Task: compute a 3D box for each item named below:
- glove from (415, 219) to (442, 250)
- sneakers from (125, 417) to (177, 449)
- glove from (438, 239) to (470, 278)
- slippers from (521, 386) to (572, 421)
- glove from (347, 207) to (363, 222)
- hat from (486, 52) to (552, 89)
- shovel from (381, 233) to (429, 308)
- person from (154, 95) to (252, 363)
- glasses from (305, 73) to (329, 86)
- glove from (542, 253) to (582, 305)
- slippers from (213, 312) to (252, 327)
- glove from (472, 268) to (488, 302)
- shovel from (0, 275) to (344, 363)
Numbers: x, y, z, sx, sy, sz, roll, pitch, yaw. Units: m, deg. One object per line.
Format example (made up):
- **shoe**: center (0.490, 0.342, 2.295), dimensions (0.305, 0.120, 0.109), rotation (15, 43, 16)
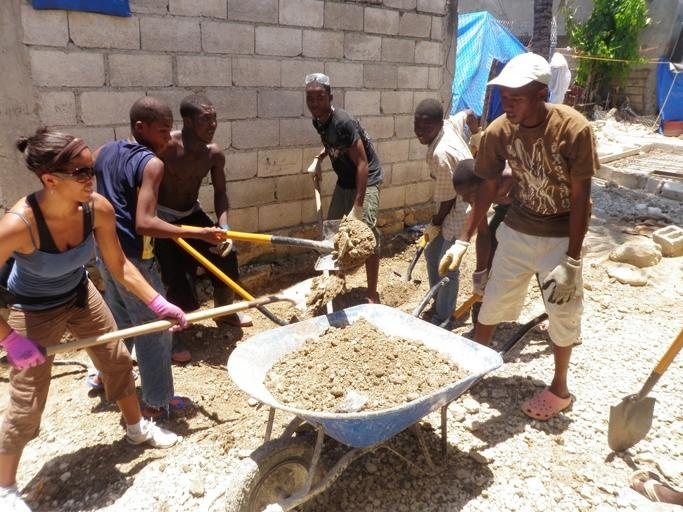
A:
- **glove**: center (0.797, -0.111, 5.160), dimensions (0.102, 0.394, 0.115), rotation (31, 51, 3)
- **sneakers**: center (-1.355, 1.256, 3.893), dimensions (0.388, 0.186, 0.170), rotation (7, 25, -30)
- **glove**: center (0.894, 0.035, 4.379), dimensions (0.194, 0.333, 0.109), rotation (46, 3, 23)
- **slippers**: center (1.513, 1.116, 4.089), dimensions (0.365, 0.154, 0.194), rotation (-14, 50, -1)
- **glove**: center (0.129, -0.389, 5.055), dimensions (0.133, 0.175, 0.161), rotation (3, 66, -3)
- **hat**: center (1.222, -1.308, 3.792), dimensions (0.372, 0.204, 0.272), rotation (-20, 34, -34)
- **shovel**: center (0.743, 0.236, 6.492), dimensions (0.390, 0.309, 0.927), rotation (-26, 29, 35)
- **person**: center (-1.280, -0.268, 4.930), dimensions (0.908, 2.406, 0.934), rotation (26, 36, 34)
- **glasses**: center (-0.219, -1.660, 5.212), dimensions (0.203, 0.114, 0.304), rotation (0, 10, 6)
- **glove**: center (1.542, 0.180, 3.848), dimensions (0.212, 0.362, 0.116), rotation (14, 28, 2)
- **slippers**: center (-1.065, 0.609, 5.369), dimensions (0.301, 0.135, 0.162), rotation (-8, 17, -13)
- **glove**: center (1.118, 0.241, 4.518), dimensions (0.160, 0.177, 0.219), rotation (-5, 42, 21)
- **shovel**: center (-1.266, 0.488, 4.017), dimensions (1.621, 0.132, 0.483), rotation (-12, 4, -23)
